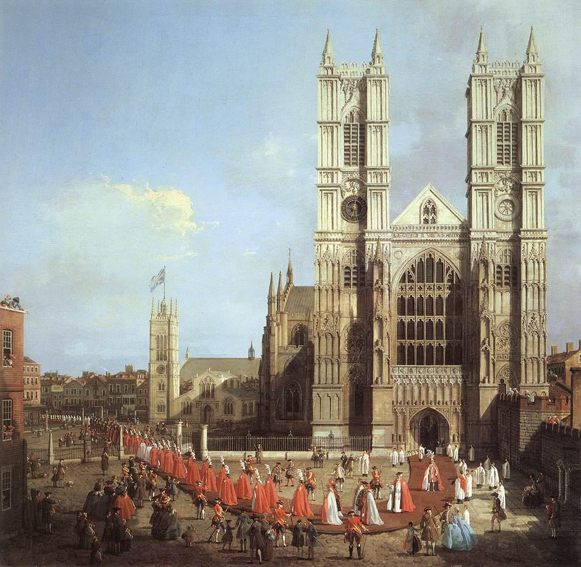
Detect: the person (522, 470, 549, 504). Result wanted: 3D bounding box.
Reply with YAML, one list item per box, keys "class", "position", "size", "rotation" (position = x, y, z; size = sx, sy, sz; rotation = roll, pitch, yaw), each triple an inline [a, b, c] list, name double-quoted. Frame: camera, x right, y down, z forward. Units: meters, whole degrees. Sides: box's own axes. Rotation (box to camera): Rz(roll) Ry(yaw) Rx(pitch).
- class: "person"
  position: [13.433, 11.316, 63.474]
  size: [1.022, 1.710, 1.598]
  rotation: [-2, -7, 18]
